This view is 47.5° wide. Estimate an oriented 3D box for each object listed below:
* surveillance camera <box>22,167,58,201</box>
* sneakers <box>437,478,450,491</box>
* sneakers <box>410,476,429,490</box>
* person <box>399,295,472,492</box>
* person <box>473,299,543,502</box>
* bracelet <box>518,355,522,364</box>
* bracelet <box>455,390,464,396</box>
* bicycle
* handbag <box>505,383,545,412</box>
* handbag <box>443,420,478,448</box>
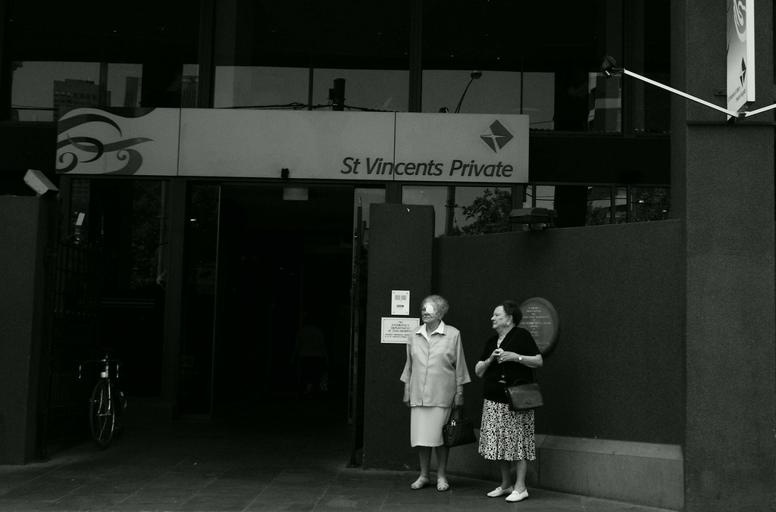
[{"bbox_3d":[-5.049,-1.046,12.794,0.476,0.386,0.260,2,1,23],"label":"surveillance camera"},{"bbox_3d":[0.740,2.991,11.583,0.161,0.146,0.215,2,1,4],"label":"sneakers"},{"bbox_3d":[0.440,2.980,11.643,0.257,0.147,0.190,1,1,-1],"label":"sneakers"},{"bbox_3d":[0.631,1.803,11.697,0.887,2.509,0.500,1,2,1],"label":"person"},{"bbox_3d":[1.555,1.848,11.300,0.837,2.500,0.682,1,1,0],"label":"person"},{"bbox_3d":[1.679,1.301,11.151,0.084,0.112,0.033,-2,-3,7],"label":"bracelet"},{"bbox_3d":[0.955,1.803,11.690,0.084,0.047,0.101,21,-39,-30],"label":"bracelet"},{"bbox_3d":[-4.459,2.246,13.723,0.714,1.335,1.539,1,1,-19],"label":"bicycle"},{"bbox_3d":[1.707,1.778,11.074,0.395,0.285,0.168,-8,-16,-23],"label":"handbag"},{"bbox_3d":[0.943,2.334,11.549,0.459,0.432,0.183,-2,7,-18],"label":"handbag"}]
